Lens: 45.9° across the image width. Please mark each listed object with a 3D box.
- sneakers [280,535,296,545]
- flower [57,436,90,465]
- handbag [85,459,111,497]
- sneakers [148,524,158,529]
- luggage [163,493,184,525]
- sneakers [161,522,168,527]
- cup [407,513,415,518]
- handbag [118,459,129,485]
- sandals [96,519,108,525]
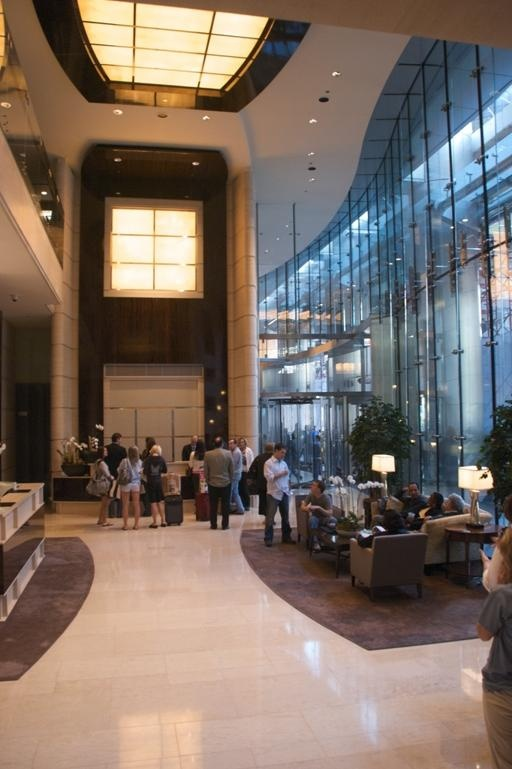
[{"bbox_3d":[0.507,2.507,9.745,0.220,0.167,0.083,-2,-1,14],"label":"sneakers"},{"bbox_3d":[-4.223,1.394,13.887,0.558,0.812,0.779,4,-9,-3],"label":"flower"},{"bbox_3d":[-3.055,1.838,11.747,0.517,0.962,0.871,3,-8,-22],"label":"handbag"},{"bbox_3d":[-1.914,2.652,11.336,0.153,0.067,0.250,0,-4,-11],"label":"sneakers"},{"bbox_3d":[-1.572,2.429,11.717,0.452,0.803,0.463,1,-6,-9],"label":"luggage"},{"bbox_3d":[-1.733,2.660,11.530,0.136,0.074,0.069,2,-5,-34],"label":"sneakers"},{"bbox_3d":[2.172,1.843,8.512,0.091,0.104,0.120,0,-6,-1],"label":"cup"},{"bbox_3d":[-2.382,1.581,10.891,0.137,0.486,0.242,2,-5,-35],"label":"handbag"},{"bbox_3d":[-2.955,2.641,11.651,0.098,0.066,0.174,2,-7,-40],"label":"sandals"}]
